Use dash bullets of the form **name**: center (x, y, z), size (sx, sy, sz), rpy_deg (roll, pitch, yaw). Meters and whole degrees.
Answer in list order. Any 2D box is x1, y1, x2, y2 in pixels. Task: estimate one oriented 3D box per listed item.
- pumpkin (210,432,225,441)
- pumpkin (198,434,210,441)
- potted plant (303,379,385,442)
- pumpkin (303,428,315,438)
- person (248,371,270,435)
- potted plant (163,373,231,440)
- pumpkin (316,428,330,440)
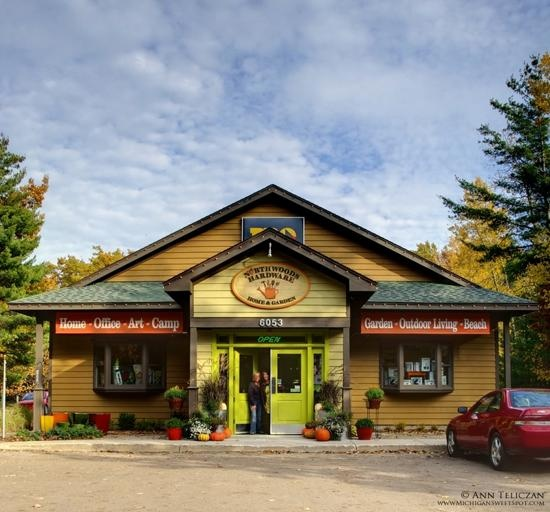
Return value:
- **pumpkin**: center (-1.610, 5.122, 21.482), size (0.289, 0.210, 0.261), rpy_deg (0, -3, 13)
- **pumpkin**: center (-2.010, 5.097, 21.286), size (0.236, 0.128, 0.233), rpy_deg (4, -4, -43)
- **potted plant**: center (2.015, 4.620, 22.337), size (2.171, 1.231, 1.831), rpy_deg (1, -10, -4)
- **pumpkin**: center (0.976, 5.175, 22.049), size (0.342, 0.261, 0.309), rpy_deg (5, -7, -13)
- **person**: center (-0.504, 4.535, 23.349), size (0.593, 1.932, 1.249), rpy_deg (0, -14, -2)
- **potted plant**: center (-2.438, 4.541, 22.530), size (2.208, 1.798, 2.135), rpy_deg (-3, -14, 12)
- **pumpkin**: center (1.362, 5.075, 21.502), size (0.454, 0.383, 0.374), rpy_deg (0, -13, -2)
